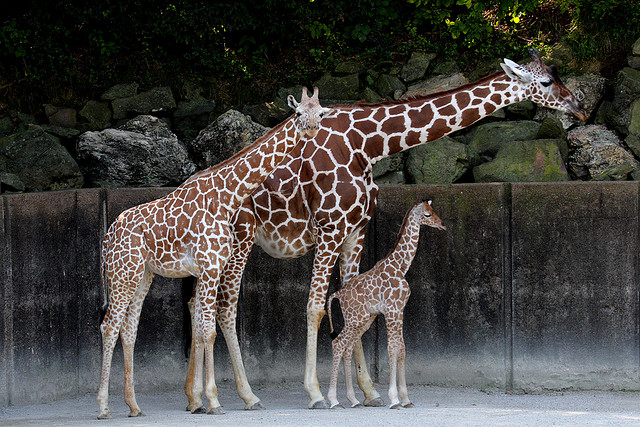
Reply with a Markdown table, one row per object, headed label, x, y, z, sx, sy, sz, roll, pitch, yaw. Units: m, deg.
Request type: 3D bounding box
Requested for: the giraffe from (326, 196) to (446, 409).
| label | x | y | z | sx | sy | sz | roll | pitch | yaw |
| --- | --- | --- | --- | --- | --- | --- | --- | --- | --- |
| giraffe | 0.824 | 1.062 | 15.162 | 1.634 | 2.507 | 1.382 | -4 | -4 | 1 |
